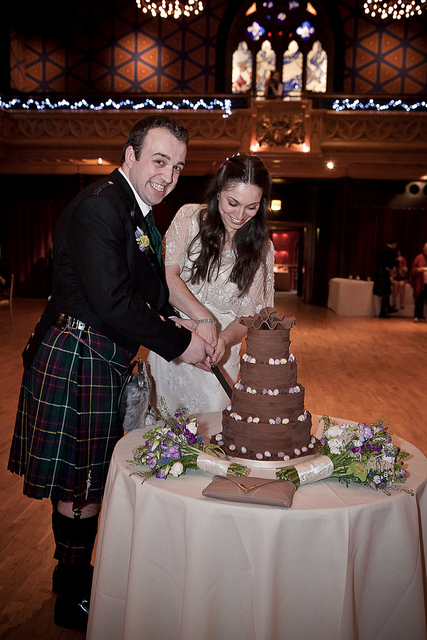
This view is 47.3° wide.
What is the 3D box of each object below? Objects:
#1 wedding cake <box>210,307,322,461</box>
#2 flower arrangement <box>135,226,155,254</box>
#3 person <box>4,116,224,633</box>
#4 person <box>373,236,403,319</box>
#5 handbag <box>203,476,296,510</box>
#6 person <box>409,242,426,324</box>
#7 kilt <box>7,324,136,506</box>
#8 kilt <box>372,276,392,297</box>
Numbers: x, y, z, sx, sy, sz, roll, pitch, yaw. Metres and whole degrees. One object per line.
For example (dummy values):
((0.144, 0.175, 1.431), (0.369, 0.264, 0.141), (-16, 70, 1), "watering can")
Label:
((0.143, 0.179, 1.331), (0.210, 0.425, 0.208), (-1, 10, -31), "wedding cake")
((-0.214, -0.255, 1.490), (0.026, 0.068, 0.036), (-13, 16, -39), "flower arrangement")
((-0.386, 0.224, 1.654), (0.597, 1.751, 0.589), (7, 9, 33), "person")
((4.476, -1.133, 12.537), (0.578, 2.035, 1.407), (6, 9, 28), "person")
((0.084, 0.380, 1.098), (0.139, 0.025, 0.080), (1, 11, 13), "handbag")
((4.975, -0.916, 11.791), (0.368, 1.835, 1.338), (5, 9, 22), "person")
((-0.465, 0.282, 1.637), (0.332, 0.590, 0.323), (12, 14, 40), "kilt")
((4.211, -0.879, 12.161), (0.366, 0.272, 0.477), (8, 47, 3), "kilt")
